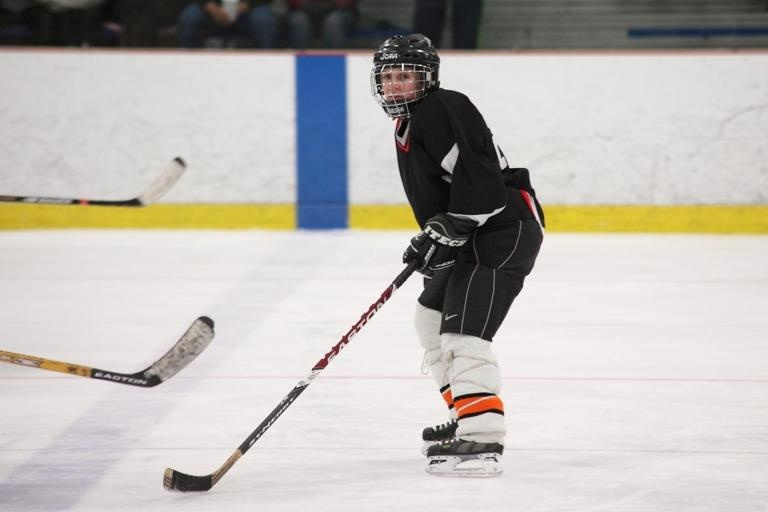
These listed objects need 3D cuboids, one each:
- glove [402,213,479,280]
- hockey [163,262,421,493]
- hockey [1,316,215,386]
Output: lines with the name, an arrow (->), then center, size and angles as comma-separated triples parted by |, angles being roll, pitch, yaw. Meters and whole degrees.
glove -> 0.230, -0.061, 4.491 | 0.212, 0.340, 0.127 | 33, 33, -24
hockey -> -0.452, 0.625, 5.056 | 1.736, 0.204, 0.143 | -31, 5, -10
hockey -> -1.411, 0.497, 5.215 | 1.264, 0.076, 0.251 | 6, 29, 8
